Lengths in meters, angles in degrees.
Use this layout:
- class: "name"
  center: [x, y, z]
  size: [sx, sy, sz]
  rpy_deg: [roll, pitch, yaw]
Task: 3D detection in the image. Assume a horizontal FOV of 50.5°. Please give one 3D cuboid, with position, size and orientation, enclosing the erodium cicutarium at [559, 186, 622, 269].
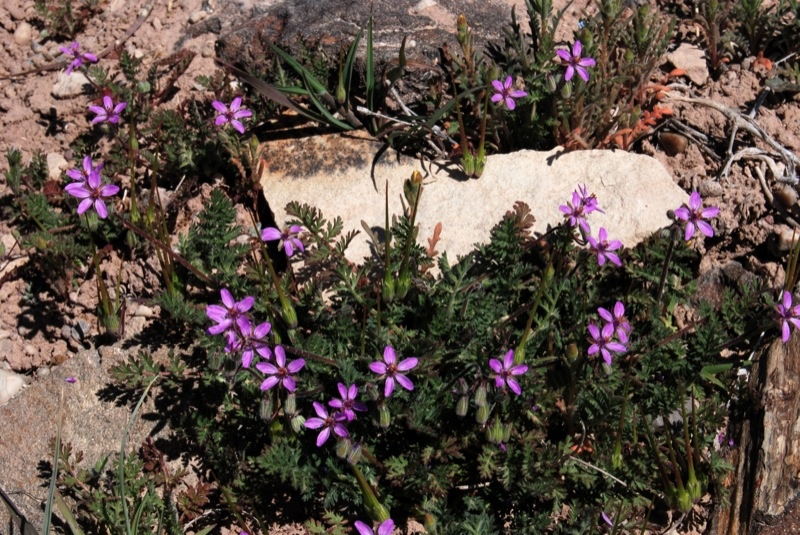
- class: "erodium cicutarium"
  center: [1.421, -0.296, 6.311]
  size: [0.443, 0.197, 0.683]
  rpy_deg: [-24, 86, -50]

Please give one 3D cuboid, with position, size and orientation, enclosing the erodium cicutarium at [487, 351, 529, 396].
- class: "erodium cicutarium"
  center: [0.715, 0.732, 5.745]
  size: [0.311, 0.100, 0.386]
  rpy_deg: [4, 41, -1]

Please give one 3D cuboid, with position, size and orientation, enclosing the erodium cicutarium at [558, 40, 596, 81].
- class: "erodium cicutarium"
  center: [1.331, -1.611, 6.571]
  size: [0.374, 0.393, 0.186]
  rpy_deg: [-2, 84, -8]

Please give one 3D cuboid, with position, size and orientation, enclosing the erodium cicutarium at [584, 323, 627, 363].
- class: "erodium cicutarium"
  center: [1.403, 0.524, 5.912]
  size: [0.332, 0.102, 0.350]
  rpy_deg: [-31, 19, -30]
